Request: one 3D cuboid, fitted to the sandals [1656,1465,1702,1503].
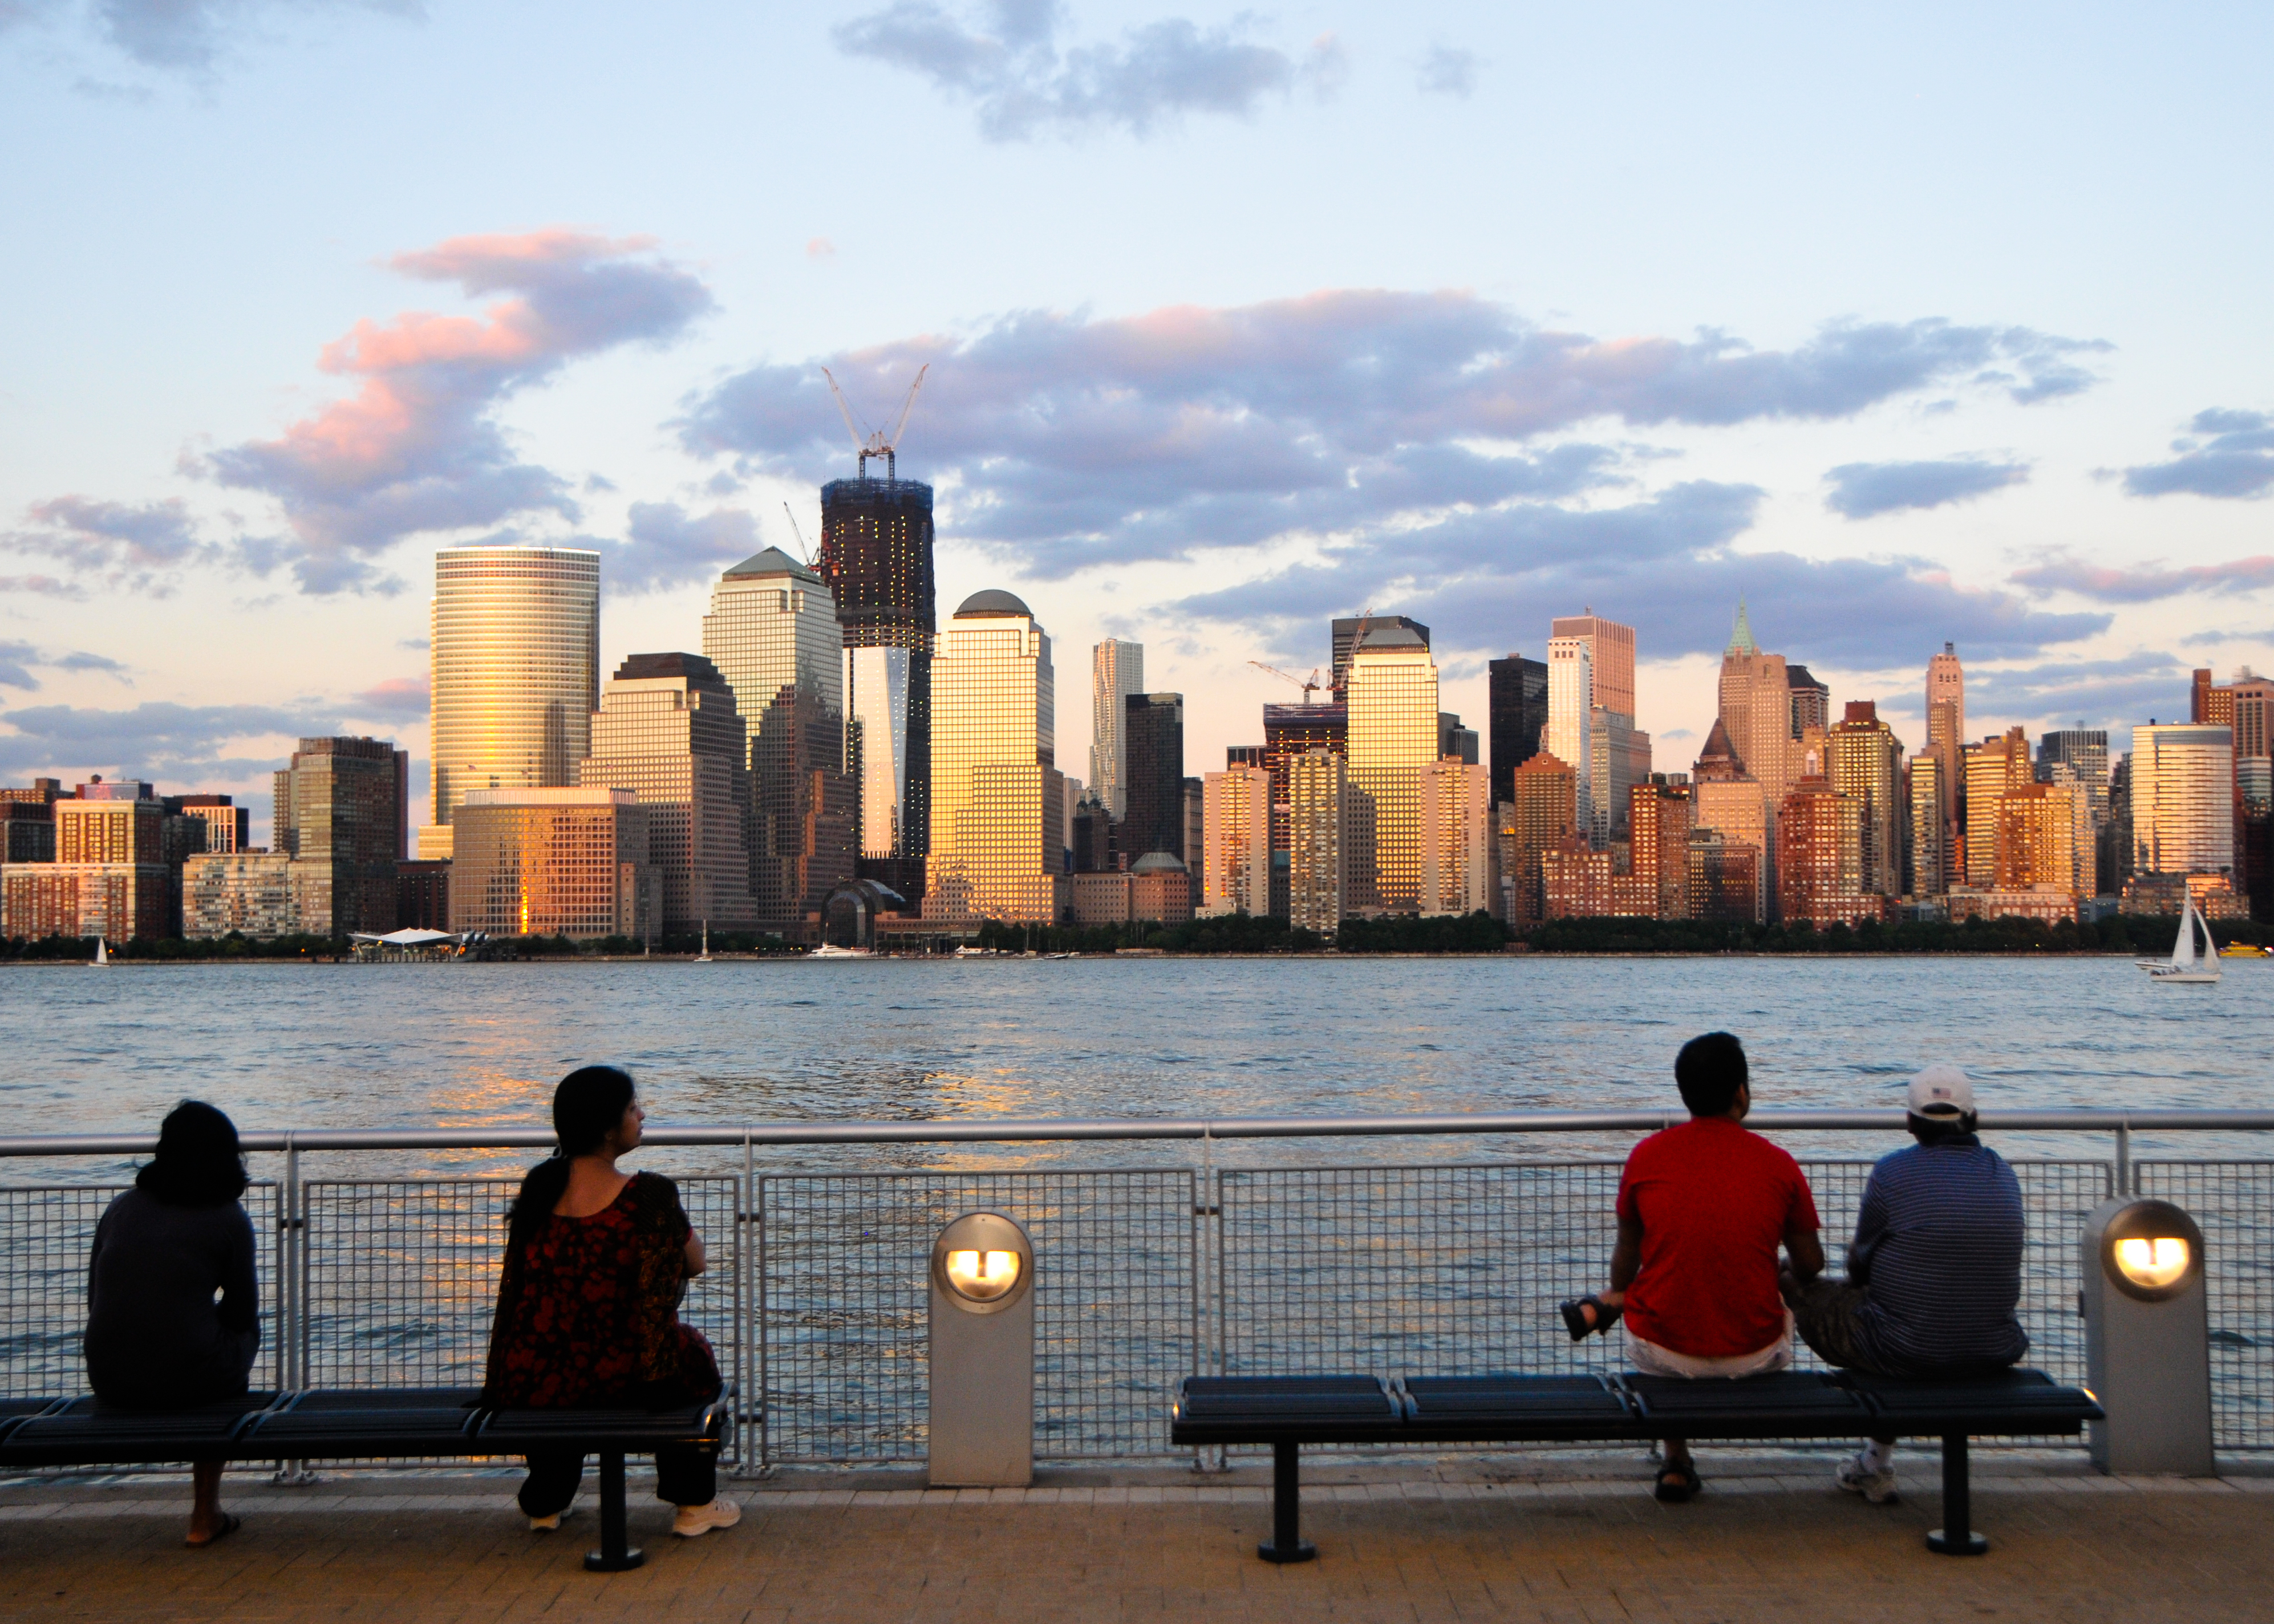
[{"bbox_3d":[2.745,3.447,17.955,0.173,0.145,0.425,-1,-8,5],"label":"sandals"}]

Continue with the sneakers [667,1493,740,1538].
[{"bbox_3d":[-2.172,3.554,17.733,0.383,0.133,0.137,-12,23,-29],"label":"sneakers"}]

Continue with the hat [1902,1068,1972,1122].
[{"bbox_3d":[4.051,1.432,17.798,0.253,0.159,0.352,0,4,17],"label":"hat"}]
